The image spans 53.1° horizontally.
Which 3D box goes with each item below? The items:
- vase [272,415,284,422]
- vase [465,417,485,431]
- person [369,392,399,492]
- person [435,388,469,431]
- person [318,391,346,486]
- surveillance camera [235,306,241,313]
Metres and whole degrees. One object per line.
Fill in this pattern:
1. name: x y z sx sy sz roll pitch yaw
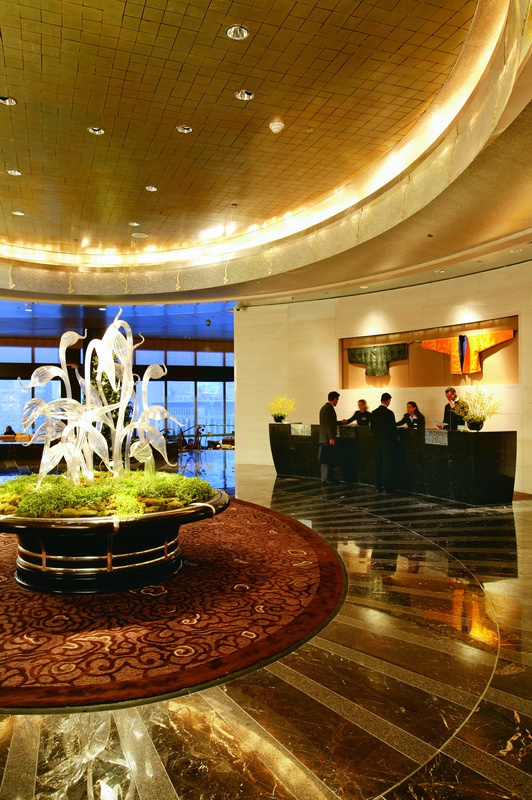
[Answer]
1. vase: 0.282 0.423 11.935 0.231 0.192 0.295 0 -2 -2
2. vase: 3.205 0.387 8.225 0.264 0.205 0.399 -1 -2 21
3. person: 2.057 0.879 9.530 0.394 1.534 0.573 2 -3 -40
4. person: 3.196 0.135 9.097 0.368 0.745 1.281 -1 -2 18
5. person: 1.234 0.753 10.508 0.440 1.765 0.686 0 -2 8
6. surveillance camera: -0.732 -2.336 13.650 0.104 0.100 0.104 0 -3 -2
